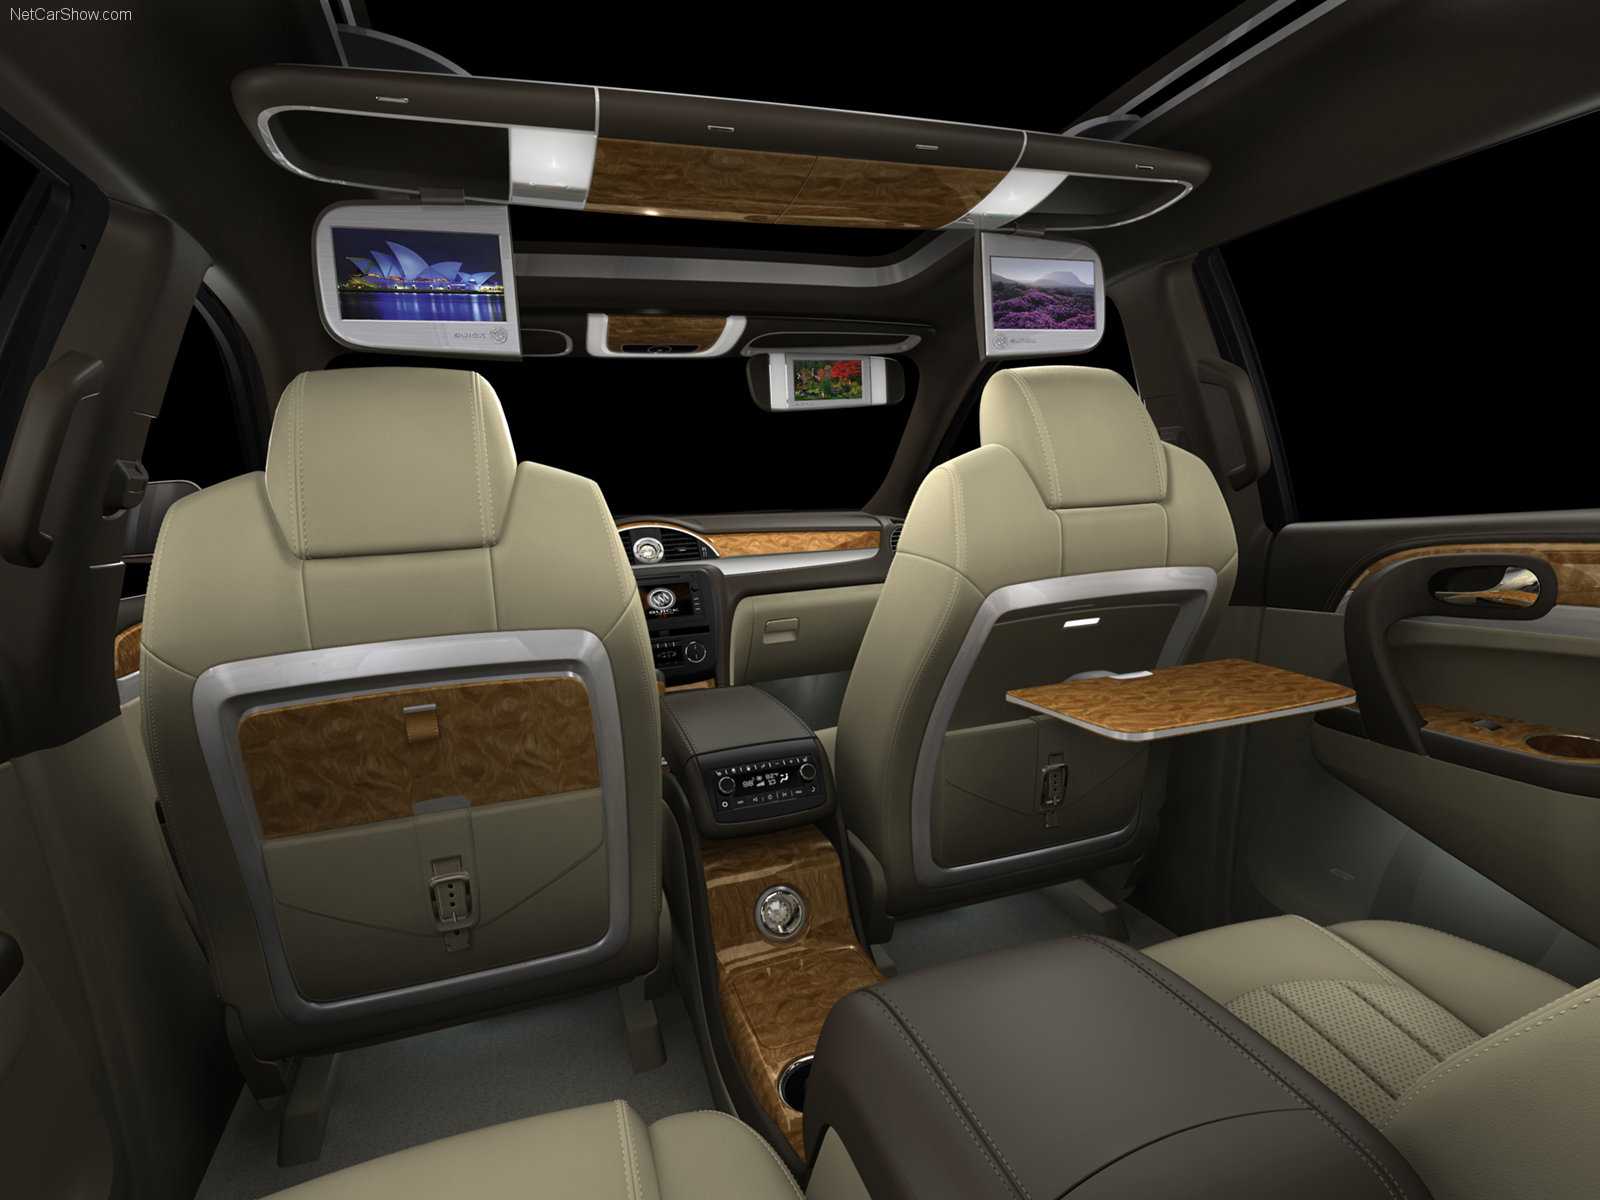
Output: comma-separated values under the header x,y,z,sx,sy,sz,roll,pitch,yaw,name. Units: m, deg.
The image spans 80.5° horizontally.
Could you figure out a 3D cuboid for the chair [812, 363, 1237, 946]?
x,y,z,sx,sy,sz,roll,pitch,yaw,name
0.495,0.174,2.720,0.962,1.412,1.250,-6,5,-25,chair
